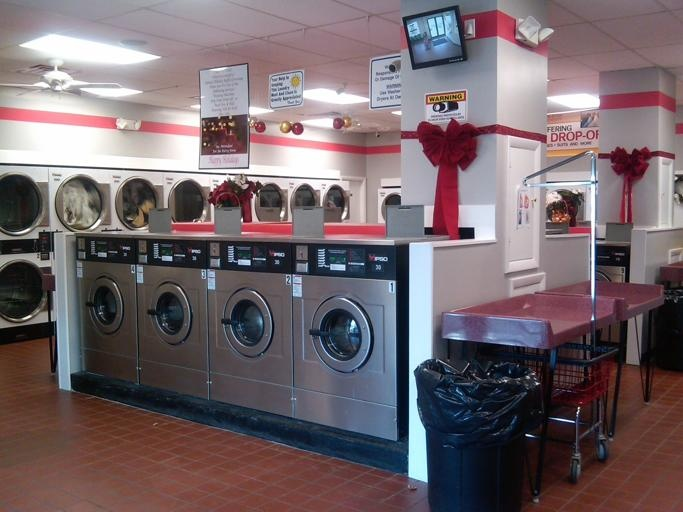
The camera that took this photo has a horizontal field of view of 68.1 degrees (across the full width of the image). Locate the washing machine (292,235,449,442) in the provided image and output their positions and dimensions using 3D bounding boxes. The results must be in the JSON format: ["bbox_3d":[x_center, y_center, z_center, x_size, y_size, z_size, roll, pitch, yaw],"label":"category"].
[{"bbox_3d":[0.281,0.534,3.946,0.833,1.379,1.062,2,4,37],"label":"washing machine"}]

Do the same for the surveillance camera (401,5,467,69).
[{"bbox_3d":[0.717,-1.668,3.889,0.439,0.441,0.271,7,9,33],"label":"surveillance camera"}]

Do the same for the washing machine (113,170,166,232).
[{"bbox_3d":[-3.585,-0.961,8.593,0.761,1.461,0.964,10,11,39],"label":"washing machine"}]

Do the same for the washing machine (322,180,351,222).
[{"bbox_3d":[-0.139,-1.255,11.705,0.539,0.871,1.578,0,5,5],"label":"washing machine"}]

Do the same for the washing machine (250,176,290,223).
[{"bbox_3d":[-1.418,-1.127,10.160,0.577,0.827,0.535,0,10,8],"label":"washing machine"}]

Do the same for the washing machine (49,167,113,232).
[{"bbox_3d":[-3.953,-0.871,7.699,0.841,0.923,0.312,-4,5,-39],"label":"washing machine"}]

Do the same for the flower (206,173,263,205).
[{"bbox_3d":[-1.528,-0.918,7.106,0.642,0.379,0.311,-2,4,-19],"label":"flower"}]

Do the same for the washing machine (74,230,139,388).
[{"bbox_3d":[-2.321,0.500,5.009,0.830,1.358,0.914,2,4,36],"label":"washing machine"}]

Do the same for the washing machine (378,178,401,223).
[{"bbox_3d":[1.176,-1.410,12.462,0.544,1.096,1.095,0,4,2],"label":"washing machine"}]

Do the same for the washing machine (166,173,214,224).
[{"bbox_3d":[-2.710,-1.008,8.935,0.321,0.773,0.779,2,5,35],"label":"washing machine"}]

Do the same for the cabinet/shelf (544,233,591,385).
[{"bbox_3d":[2.109,0.428,4.908,0.395,1.239,0.566,6,7,29],"label":"cabinet/shelf"}]

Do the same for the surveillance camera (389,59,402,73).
[{"bbox_3d":[0.577,-2.095,5.535,0.148,0.153,0.096,1,4,20],"label":"surveillance camera"}]

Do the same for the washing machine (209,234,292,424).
[{"bbox_3d":[-0.671,0.565,4.158,0.602,1.498,0.563,9,11,40],"label":"washing machine"}]
